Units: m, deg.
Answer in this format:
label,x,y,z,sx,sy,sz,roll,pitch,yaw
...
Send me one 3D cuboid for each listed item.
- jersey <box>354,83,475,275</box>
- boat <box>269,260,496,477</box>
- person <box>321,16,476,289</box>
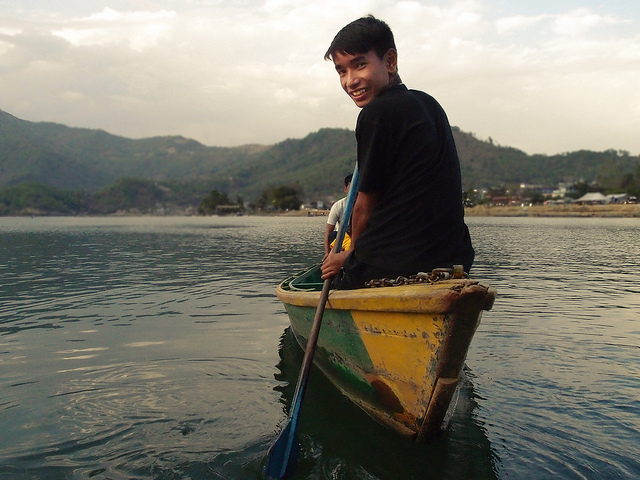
label,x,y,z,sx,sy,sz,roll,pitch,yaw
jersey,0.923,-0.645,5.225,1.089,1.597,1.290,5,15,41
boat,0.499,1.255,5.054,1.782,2.220,1.132,13,20,43
person,0.757,-0.757,4.976,1.370,2.632,0.676,11,18,36
